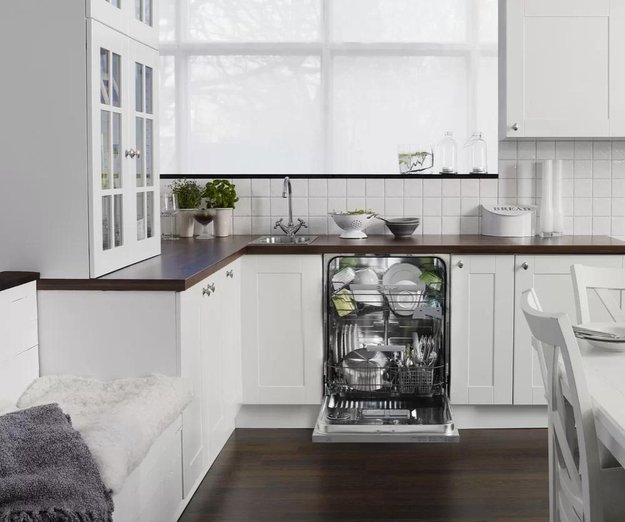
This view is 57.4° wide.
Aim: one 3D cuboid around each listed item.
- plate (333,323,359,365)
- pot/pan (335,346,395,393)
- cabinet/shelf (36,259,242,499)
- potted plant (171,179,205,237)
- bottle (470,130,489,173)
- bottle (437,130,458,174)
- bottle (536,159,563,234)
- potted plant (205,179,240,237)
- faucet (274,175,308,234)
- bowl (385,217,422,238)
[{"bbox_3d":[0.199,0.464,3.209,0.057,0.208,0.171,0,-8,15],"label":"plate"},{"bbox_3d":[0.286,0.603,3.261,0.238,0.145,0.266,-6,40,-2],"label":"pot/pan"},{"bbox_3d":[-0.712,0.487,2.564,0.608,0.859,0.886,0,7,5],"label":"cabinet/shelf"},{"bbox_3d":[-0.836,-0.333,3.675,0.176,0.317,0.187,1,4,23],"label":"potted plant"},{"bbox_3d":[1.091,-0.699,3.769,0.112,0.256,0.191,1,7,14],"label":"bottle"},{"bbox_3d":[0.892,-0.704,3.773,0.114,0.264,0.178,1,6,12],"label":"bottle"},{"bbox_3d":[1.490,-0.397,3.582,0.169,0.452,0.310,2,7,20],"label":"bottle"},{"bbox_3d":[-0.578,-0.329,3.693,0.184,0.372,0.206,-3,-4,-15],"label":"potted plant"},{"bbox_3d":[-0.134,-0.337,3.596,0.226,0.375,0.363,-1,7,-4],"label":"faucet"},{"bbox_3d":[0.537,-0.207,3.503,0.171,0.080,0.134,1,4,23],"label":"bowl"}]
